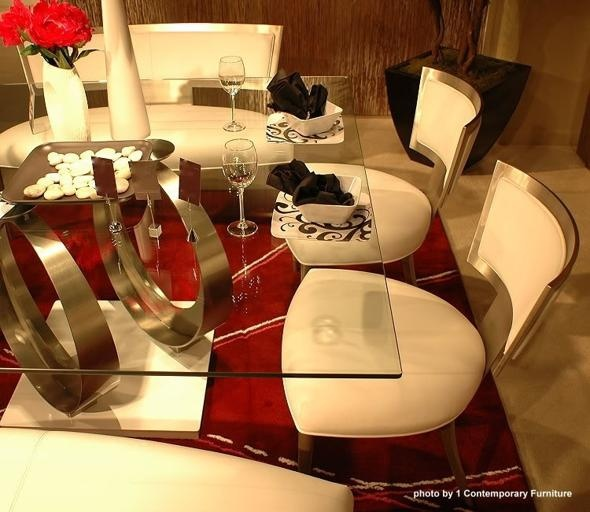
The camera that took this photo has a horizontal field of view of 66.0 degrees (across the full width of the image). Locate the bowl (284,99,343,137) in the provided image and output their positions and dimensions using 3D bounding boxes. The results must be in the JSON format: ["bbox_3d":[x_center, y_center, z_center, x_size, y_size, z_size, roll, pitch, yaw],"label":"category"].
[{"bbox_3d":[0.056,-0.498,1.603,0.159,0.066,0.131,18,54,26],"label":"bowl"}]

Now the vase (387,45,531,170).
[{"bbox_3d":[1.070,-0.889,3.369,0.797,0.922,1.136,11,37,10],"label":"vase"}]

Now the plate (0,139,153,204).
[{"bbox_3d":[-0.703,-0.251,1.297,0.269,0.032,0.278,1,42,-1],"label":"plate"}]
